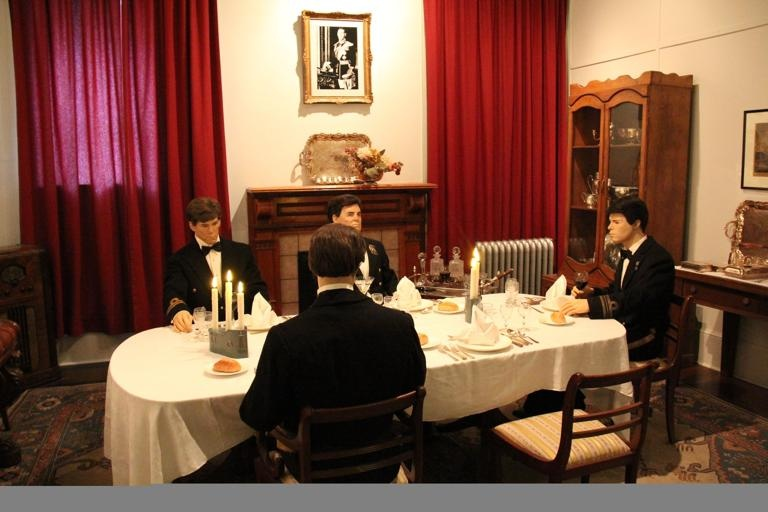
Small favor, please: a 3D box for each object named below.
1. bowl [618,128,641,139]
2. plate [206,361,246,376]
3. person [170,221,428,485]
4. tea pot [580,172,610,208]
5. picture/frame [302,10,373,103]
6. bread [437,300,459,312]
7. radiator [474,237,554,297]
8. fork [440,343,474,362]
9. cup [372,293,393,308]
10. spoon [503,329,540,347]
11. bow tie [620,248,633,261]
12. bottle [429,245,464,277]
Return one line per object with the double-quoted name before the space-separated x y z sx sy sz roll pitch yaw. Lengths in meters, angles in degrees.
"bowl" 2.328 -1.170 5.413 0.027 0.114 0.262 -6 12 -19
"plate" -0.898 0.633 3.180 0.124 0.039 0.124 0 6 -8
"person" -0.280 0.514 3.177 1.003 1.329 0.906 -2 14 -7
"tea pot" 2.172 -0.667 5.857 0.280 0.352 0.299 0 8 0
"picture/frame" -0.536 -2.114 5.896 0.985 1.079 0.117 -2 6 -20
"bread" 0.450 0.373 4.087 0.091 0.045 0.090 -5 11 -23
"radiator" 1.329 0.113 5.936 0.684 0.673 0.114 -1 3 -16
"fork" 0.422 0.584 3.446 0.078 0.025 0.172 -7 13 -14
"cup" -0.020 0.315 3.961 0.128 0.087 0.110 1 10 14
"spoon" 0.868 0.533 3.640 0.075 0.029 0.249 -6 6 -7
"bow tie" 1.878 -0.009 4.425 0.069 0.024 0.074 -7 23 0
"bottle" 0.540 0.051 5.098 0.277 0.259 0.106 2 9 14
